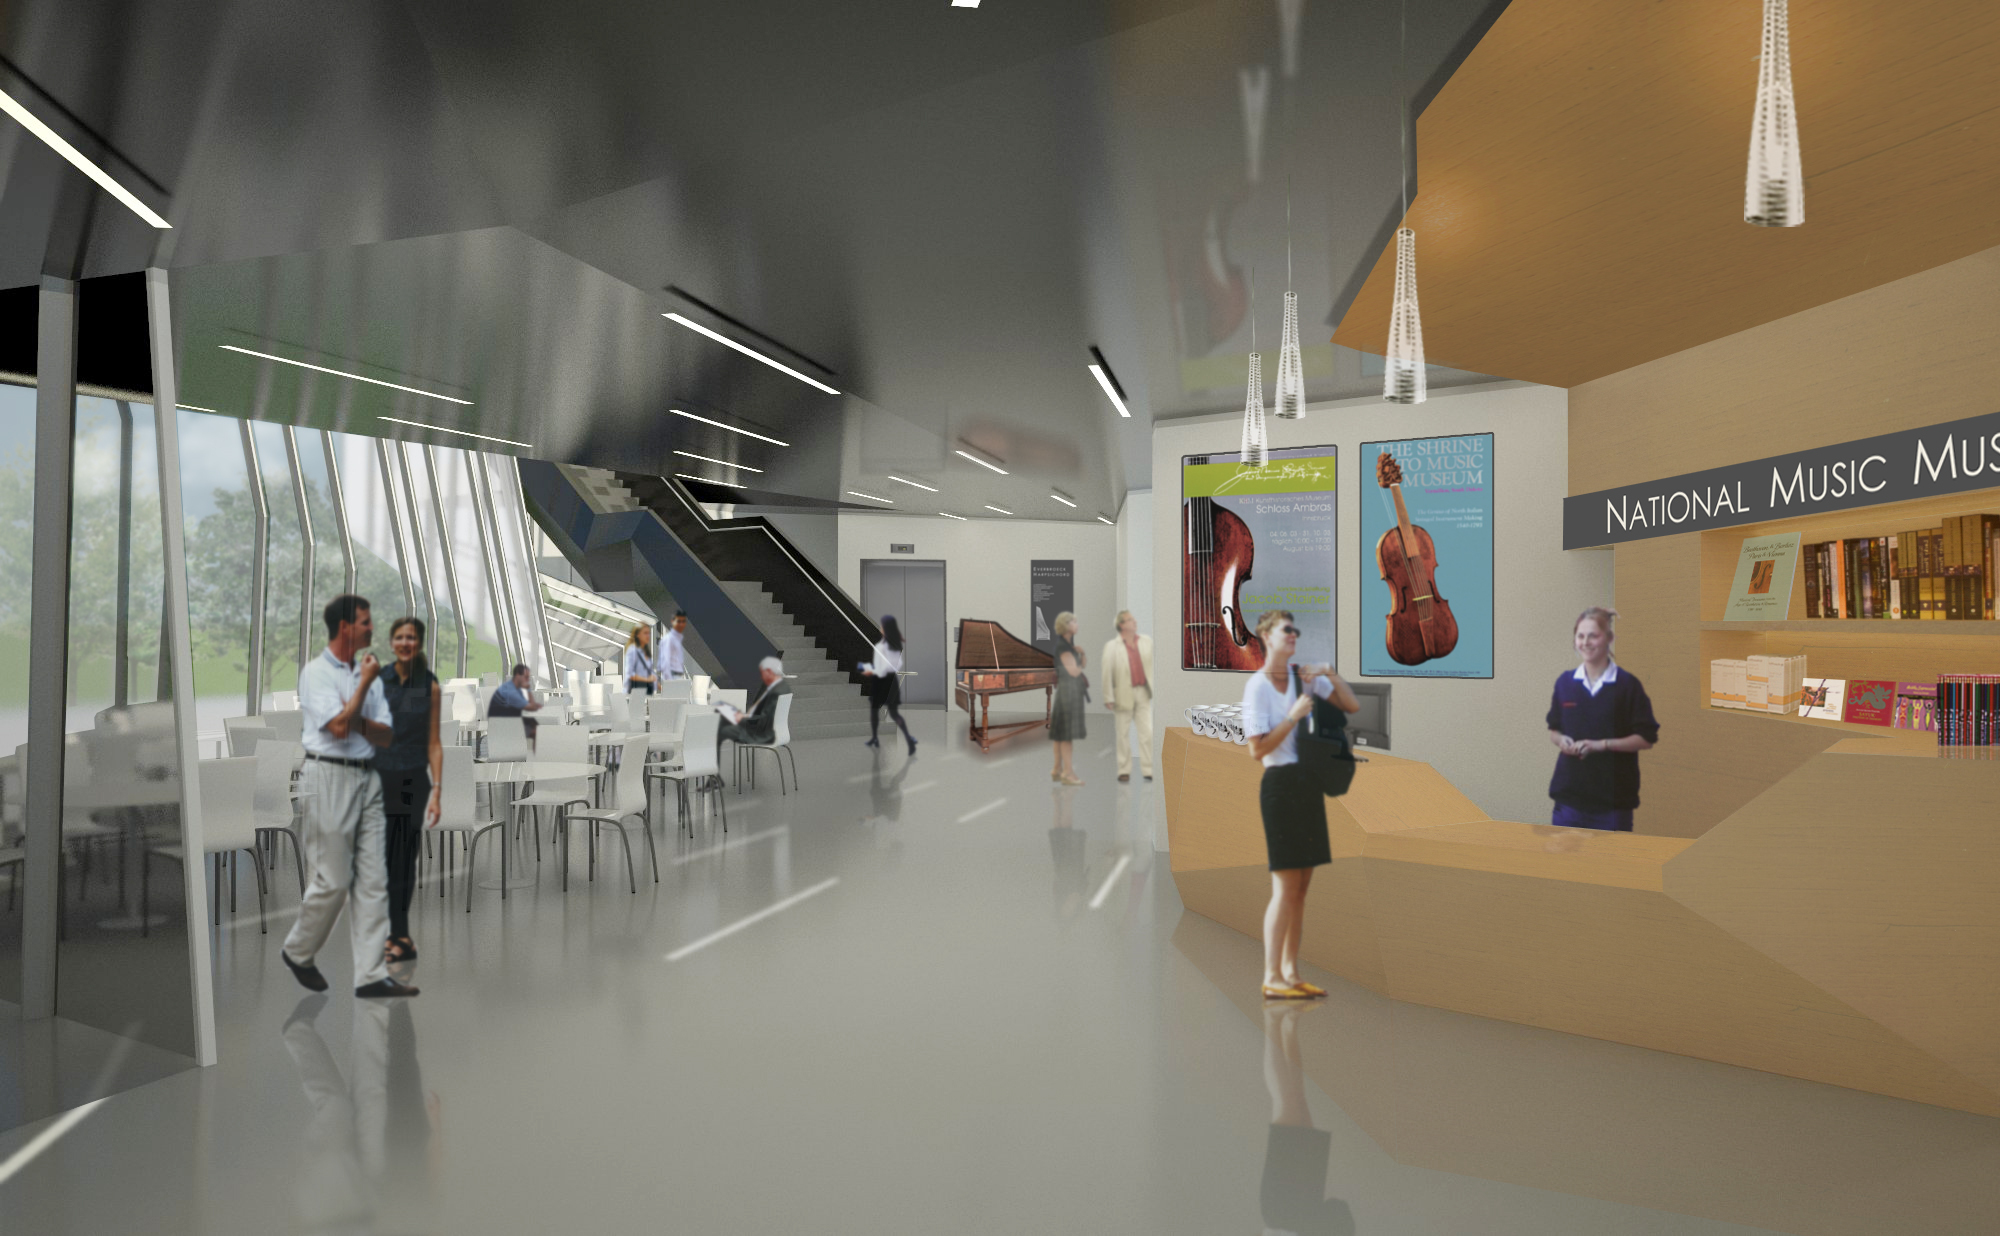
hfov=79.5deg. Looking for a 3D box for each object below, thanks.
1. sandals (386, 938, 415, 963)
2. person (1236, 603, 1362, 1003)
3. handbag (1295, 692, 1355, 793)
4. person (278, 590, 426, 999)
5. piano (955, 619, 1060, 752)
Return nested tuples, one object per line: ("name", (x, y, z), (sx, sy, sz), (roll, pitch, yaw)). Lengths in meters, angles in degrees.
("sandals", (-3.721, 2.109, 7.479), (0.158, 0.097, 0.103), (1, 0, 3))
("person", (1.620, 1.058, 6.710), (0.592, 2.180, 0.510), (2, 11, 14))
("handbag", (1.784, 0.706, 6.692), (0.356, 0.504, 0.220), (3, 0, 0))
("person", (-3.810, 1.054, 7.037), (0.754, 2.320, 0.660), (1, -2, -35))
("piano", (-0.104, 0.901, 17.584), (1.052, 1.620, 2.001), (4, 3, 3))
